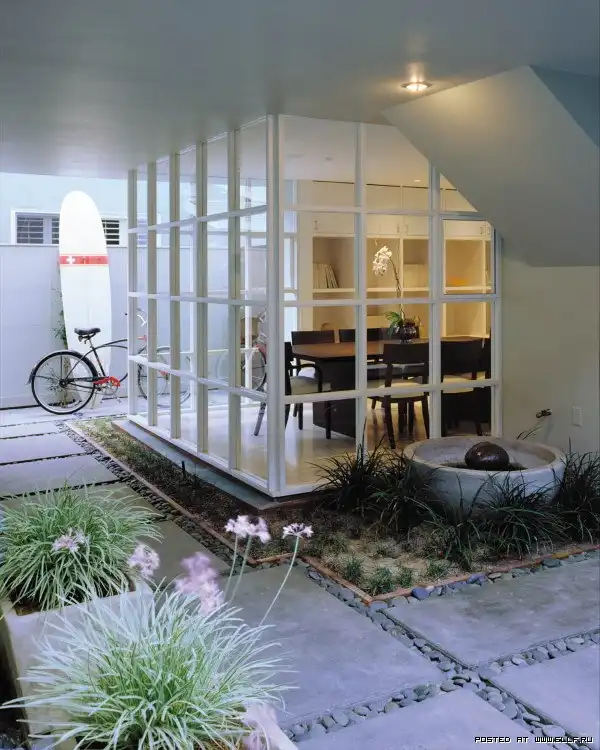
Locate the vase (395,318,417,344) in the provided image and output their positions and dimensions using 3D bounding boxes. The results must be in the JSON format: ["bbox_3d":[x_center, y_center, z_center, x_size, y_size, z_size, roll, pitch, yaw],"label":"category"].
[{"bbox_3d":[0.704,-0.277,4.088,0.157,0.138,0.142,-1,5,-16],"label":"vase"}]

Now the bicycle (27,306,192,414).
[{"bbox_3d":[-2.187,-0.138,7.408,1.856,1.103,0.782,-2,-5,-30],"label":"bicycle"}]

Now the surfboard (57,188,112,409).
[{"bbox_3d":[-2.602,-0.966,7.533,0.521,2.480,0.266,-5,8,-15],"label":"surfboard"}]

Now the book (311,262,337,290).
[{"bbox_3d":[0.156,-0.591,3.801,0.144,0.184,0.194,0,4,12],"label":"book"}]
